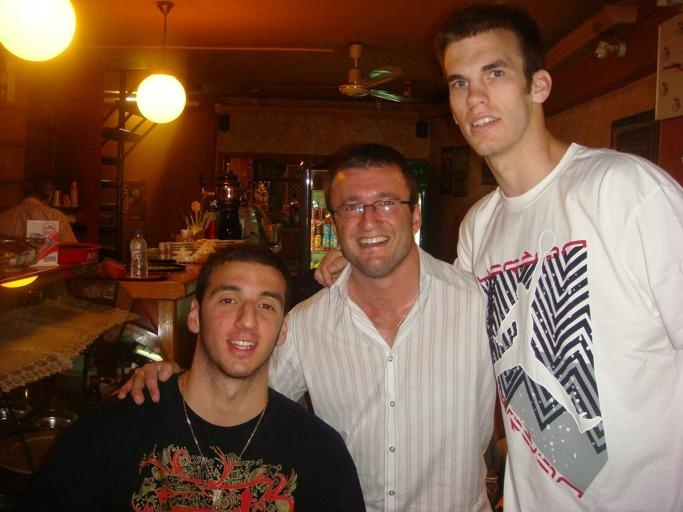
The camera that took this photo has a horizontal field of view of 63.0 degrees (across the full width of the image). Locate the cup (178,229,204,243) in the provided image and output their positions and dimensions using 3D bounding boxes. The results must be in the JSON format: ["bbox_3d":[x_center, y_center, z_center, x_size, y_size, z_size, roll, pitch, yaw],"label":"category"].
[{"bbox_3d":[-1.628,-0.214,6.003,0.232,0.177,0.156,-4,-2,31],"label":"cup"}]

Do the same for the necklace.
[{"bbox_3d":[-0.527,0.828,2.442,0.379,0.489,0.194,2,2,-13],"label":"necklace"}]

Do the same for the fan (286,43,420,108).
[{"bbox_3d":[0.302,-1.967,6.221,0.841,0.360,0.792,3,3,22],"label":"fan"}]
